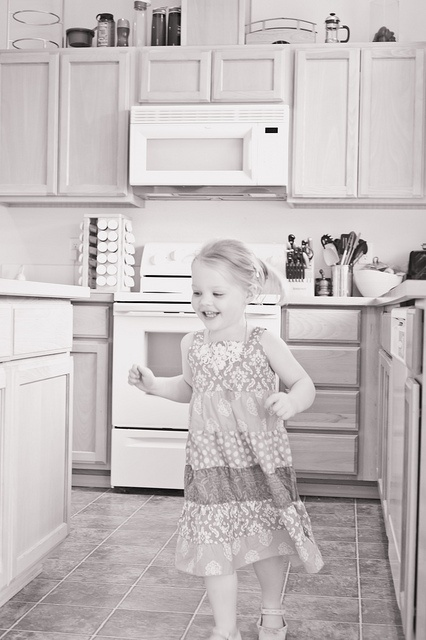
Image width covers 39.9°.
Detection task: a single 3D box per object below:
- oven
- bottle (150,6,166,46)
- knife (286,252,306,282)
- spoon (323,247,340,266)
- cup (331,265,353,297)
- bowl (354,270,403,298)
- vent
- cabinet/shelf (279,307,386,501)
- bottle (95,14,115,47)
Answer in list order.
[{"bbox_3d":[0.071,0.293,2.673,0.787,1.073,0.722,0,-3,7],"label":"oven"},{"bbox_3d":[-0.266,-1.426,2.861,0.078,0.220,0.069,0,-4,7],"label":"bottle"},{"bbox_3d":[0.387,-0.250,2.778,0.089,0.129,0.038,-1,-8,15],"label":"knife"},{"bbox_3d":[0.580,-0.318,2.900,0.069,0.099,0.025,-6,15,31],"label":"spoon"},{"bbox_3d":[0.599,-0.180,2.741,0.100,0.161,0.235,0,-4,12],"label":"cup"},{"bbox_3d":[0.676,-0.155,2.409,0.153,0.100,0.154,0,-6,0],"label":"bowl"},{"bbox_3d":[-0.013,-0.756,2.861,0.732,0.439,0.412,0,-7,1],"label":"vent"},{"bbox_3d":[0.518,0.330,2.664,0.430,0.426,0.734,-6,20,11],"label":"cabinet/shelf"},{"bbox_3d":[-0.521,-1.418,2.878,0.087,0.197,0.078,1,-4,-10],"label":"bottle"}]
